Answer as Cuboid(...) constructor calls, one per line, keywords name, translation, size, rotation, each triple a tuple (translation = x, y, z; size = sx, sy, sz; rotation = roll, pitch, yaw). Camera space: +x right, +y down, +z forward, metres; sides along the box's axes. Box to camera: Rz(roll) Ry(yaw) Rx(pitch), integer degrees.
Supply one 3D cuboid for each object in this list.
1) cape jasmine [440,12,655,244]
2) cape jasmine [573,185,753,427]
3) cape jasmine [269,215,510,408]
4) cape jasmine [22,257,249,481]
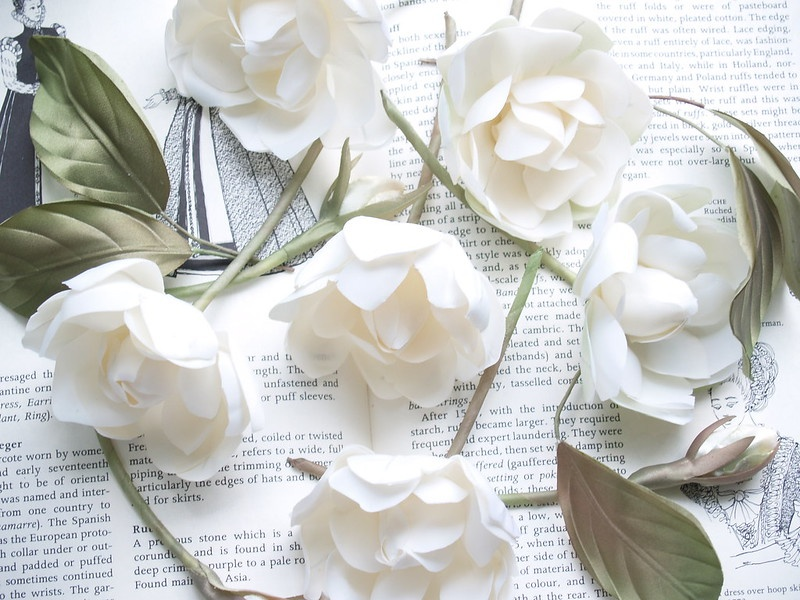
Cuboid(name="cape jasmine", translation=(0.145, -0.179, 0.980), size=(0.220, 0.134, 0.189), rotation=(-26, 69, -6))
Cuboid(name="cape jasmine", translation=(0.248, 0.013, 0.995), size=(0.174, 0.099, 0.253), rotation=(8, 89, -40))
Cuboid(name="cape jasmine", translation=(-0.006, 0.022, 0.935), size=(0.171, 0.201, 0.095), rotation=(13, 23, -6))
Cuboid(name="cape jasmine", translation=(-0.240, 0.068, 0.950), size=(0.238, 0.163, 0.156), rotation=(16, 69, 10))
